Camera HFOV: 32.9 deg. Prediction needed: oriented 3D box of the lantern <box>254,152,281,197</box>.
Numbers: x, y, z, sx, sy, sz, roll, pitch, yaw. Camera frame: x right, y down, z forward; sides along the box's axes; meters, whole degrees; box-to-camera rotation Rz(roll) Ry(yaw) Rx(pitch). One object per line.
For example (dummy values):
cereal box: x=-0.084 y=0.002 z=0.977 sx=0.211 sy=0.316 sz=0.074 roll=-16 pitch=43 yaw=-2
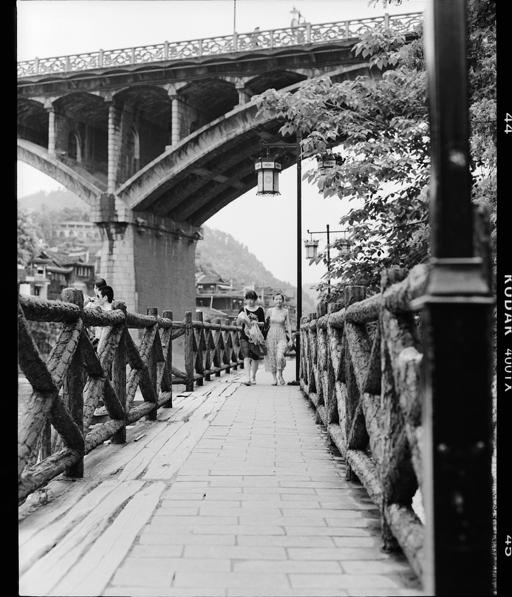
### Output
lantern: x=0.175 y=-1.790 z=12.691 sx=0.358 sy=0.620 sz=0.508 roll=0 pitch=0 yaw=2

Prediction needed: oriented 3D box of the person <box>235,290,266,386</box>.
person: x=-0.067 y=0.531 z=12.017 sx=0.398 sy=1.300 sz=0.925 roll=0 pitch=0 yaw=1
